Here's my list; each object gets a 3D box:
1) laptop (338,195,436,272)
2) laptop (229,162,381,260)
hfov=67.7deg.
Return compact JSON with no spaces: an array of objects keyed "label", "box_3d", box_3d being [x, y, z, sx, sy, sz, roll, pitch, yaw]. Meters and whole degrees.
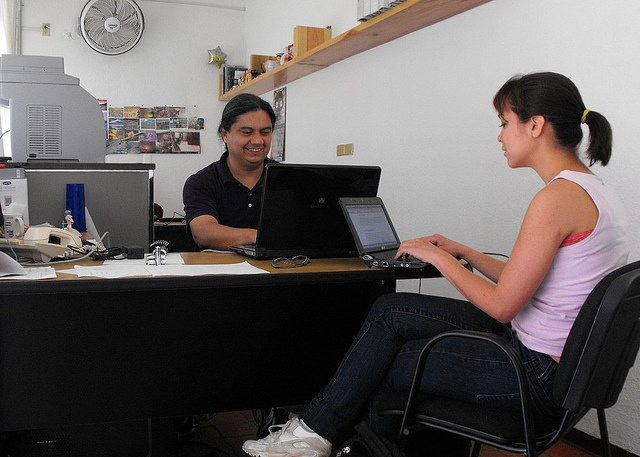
[{"label":"laptop","box_3d":[0.326,0.005,1.924,0.468,0.265,0.473,1,4,8]},{"label":"laptop","box_3d":[-0.088,-0.065,2.098,0.548,0.358,0.476,-1,2,-27]}]
